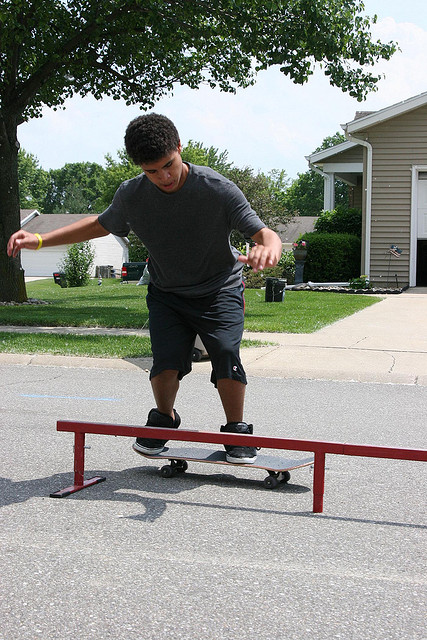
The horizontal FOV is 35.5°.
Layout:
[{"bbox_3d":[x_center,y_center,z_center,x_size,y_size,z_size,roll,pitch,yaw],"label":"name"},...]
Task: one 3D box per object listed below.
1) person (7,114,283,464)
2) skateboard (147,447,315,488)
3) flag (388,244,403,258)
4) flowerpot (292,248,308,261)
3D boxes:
[{"bbox_3d":[-0.196,-0.181,3.546,1.462,1.664,0.890,1,3,30],"label":"person"},{"bbox_3d":[0.076,0.791,3.771,1.164,0.180,0.315,0,5,16],"label":"skateboard"},{"bbox_3d":[5.513,-2.100,20.247,0.375,0.376,0.197,-1,3,-4],"label":"flag"},{"bbox_3d":[2.848,-2.154,21.960,0.420,0.268,0.375,-8,12,-43],"label":"flowerpot"}]
